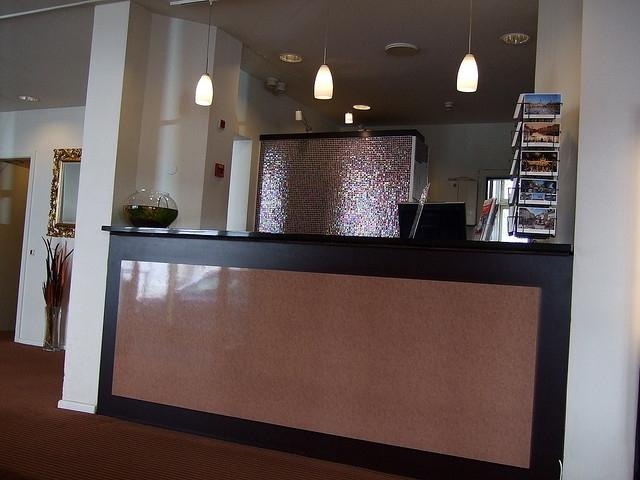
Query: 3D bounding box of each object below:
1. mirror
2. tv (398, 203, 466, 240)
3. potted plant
[{"bbox_3d":[-3.326,-0.610,6.531,0.563,1.177,0.201,5,2,33],"label":"mirror"},{"bbox_3d":[0.727,-0.130,3.358,0.477,0.235,0.319,6,3,20],"label":"tv"},{"bbox_3d":[-3.353,0.670,6.372,0.305,1.354,0.576,3,2,-31],"label":"potted plant"}]
